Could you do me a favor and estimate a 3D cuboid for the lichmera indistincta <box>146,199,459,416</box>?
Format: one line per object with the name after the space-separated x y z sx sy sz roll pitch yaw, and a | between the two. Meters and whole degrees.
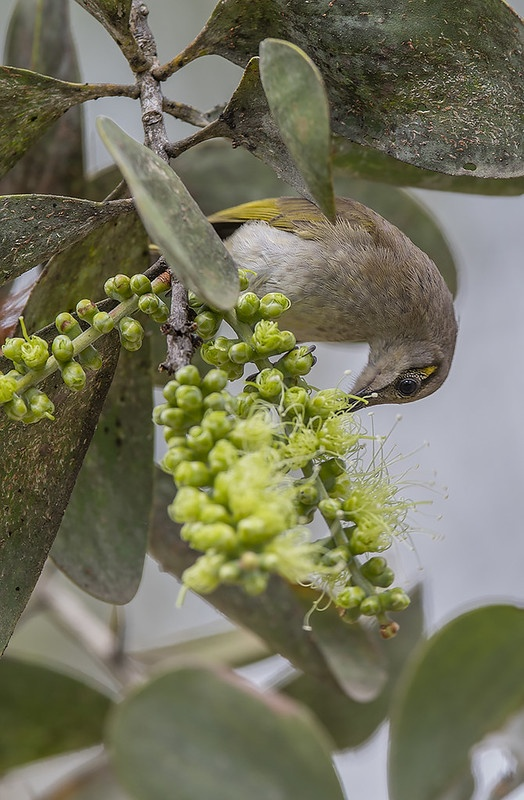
0.097 -0.203 1.582 0.326 0.541 0.243 -52 8 -2 | lichmera indistincta
